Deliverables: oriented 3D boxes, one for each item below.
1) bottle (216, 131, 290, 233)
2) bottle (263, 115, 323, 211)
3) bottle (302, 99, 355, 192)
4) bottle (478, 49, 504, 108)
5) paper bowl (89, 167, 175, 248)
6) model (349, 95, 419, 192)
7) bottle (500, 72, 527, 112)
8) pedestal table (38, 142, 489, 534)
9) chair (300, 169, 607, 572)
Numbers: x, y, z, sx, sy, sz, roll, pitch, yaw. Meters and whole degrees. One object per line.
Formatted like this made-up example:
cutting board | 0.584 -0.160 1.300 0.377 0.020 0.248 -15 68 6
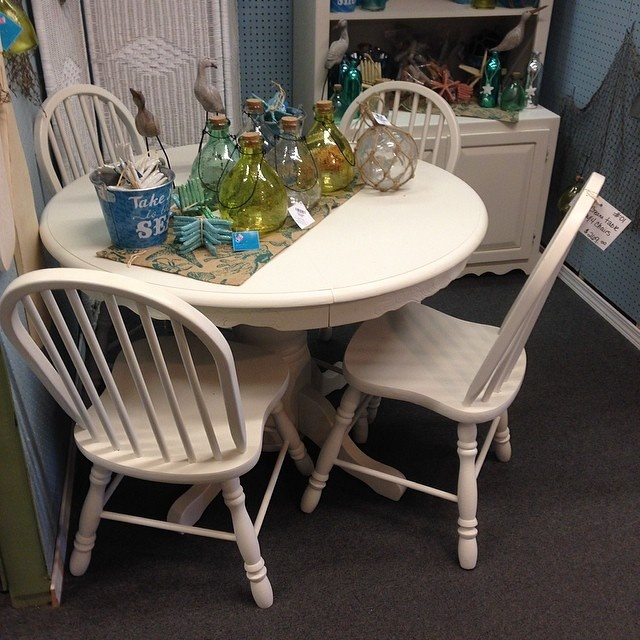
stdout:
bottle | -0.179 -0.359 1.505 0.193 0.263 0.193 -3 19 1
bottle | -0.080 -0.427 1.592 0.190 0.263 0.179 -3 34 2
bottle | 0.025 -0.517 1.755 0.192 0.267 0.189 -5 14 1
bottle | 0.807 -1.144 2.725 0.122 0.269 0.121 -4 47 4
paper bowl | -0.420 -0.254 1.404 0.198 0.171 0.187 6 36 -5
model | 0.187 -0.526 1.750 0.197 0.242 0.182 -8 -5 -19
bottle | 0.902 -1.054 2.687 0.111 0.178 0.117 5 7 -1
pedestal table | -0.233 0.072 1.875 1.053 0.738 1.048 31 47 26
chair | 0.308 0.146 1.530 0.650 1.202 0.605 23 46 17
